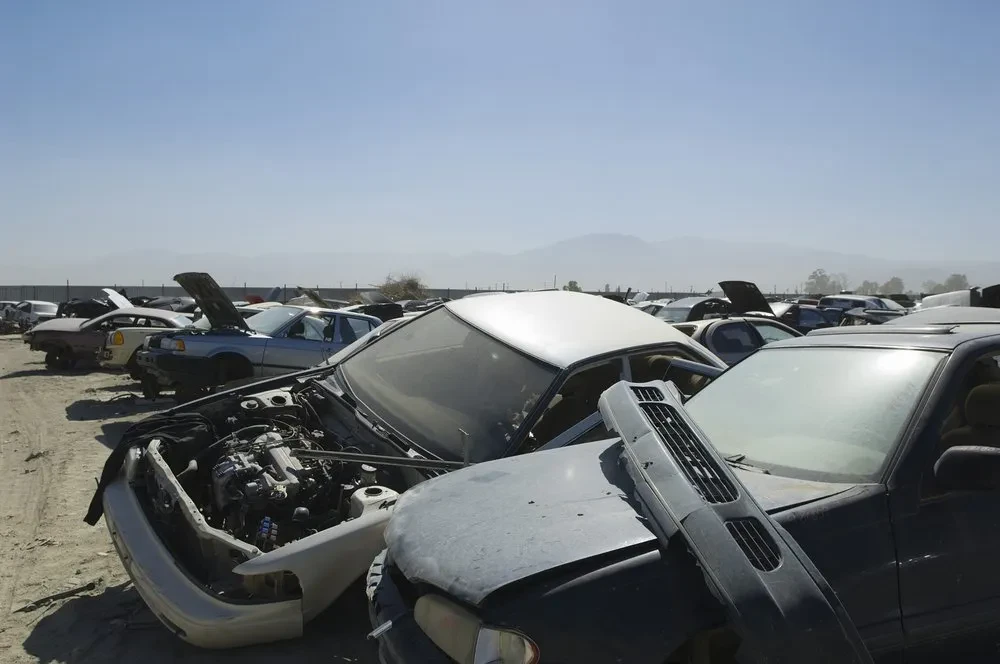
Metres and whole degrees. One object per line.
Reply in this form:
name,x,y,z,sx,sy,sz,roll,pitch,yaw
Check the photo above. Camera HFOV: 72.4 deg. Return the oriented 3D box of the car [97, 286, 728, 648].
car,-0.517,1.022,6.097,5.084,1.375,2.762,-3,18,-42
